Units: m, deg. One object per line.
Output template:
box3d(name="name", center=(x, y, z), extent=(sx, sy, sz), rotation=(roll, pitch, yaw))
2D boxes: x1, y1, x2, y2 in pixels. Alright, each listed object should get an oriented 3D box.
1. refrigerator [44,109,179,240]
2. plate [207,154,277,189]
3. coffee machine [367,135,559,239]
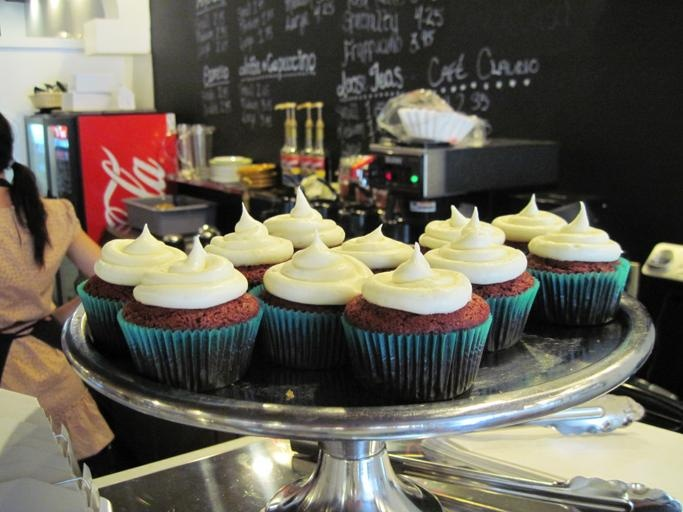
box3d(name="refrigerator", center=(-1.650, -0.691, 4.126), extent=(0.717, 0.897, 0.556), rotation=(-2, 29, -15))
box3d(name="plate", center=(-0.635, -0.535, 3.436), extent=(0.522, 0.215, 0.229), rotation=(4, 10, 41))
box3d(name="coffee machine", center=(0.423, -0.251, 1.996), extent=(0.578, 0.385, 0.384), rotation=(-6, 13, -28))
